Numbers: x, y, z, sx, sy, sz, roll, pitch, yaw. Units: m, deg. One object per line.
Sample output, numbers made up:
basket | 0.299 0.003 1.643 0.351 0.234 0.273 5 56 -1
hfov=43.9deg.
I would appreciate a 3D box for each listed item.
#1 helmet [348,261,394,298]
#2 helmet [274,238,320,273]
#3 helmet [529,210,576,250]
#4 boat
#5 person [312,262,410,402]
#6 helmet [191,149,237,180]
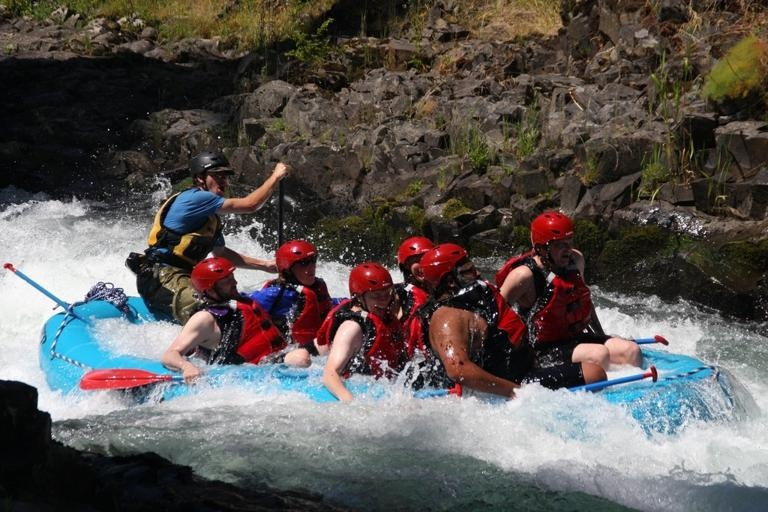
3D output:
helmet | -0.195 0.286 12.604 0.509 0.505 0.386 -20 -13 35
helmet | -1.283 0.001 13.590 0.514 0.442 0.398 12 -10 1
helmet | 2.272 -0.377 12.889 0.524 0.500 0.407 17 15 26
boat | -0.274 1.625 12.694 6.881 1.255 3.430 2 -4 21
person | -0.269 0.970 12.426 1.141 1.751 0.732 6 5 -3
helmet | -2.641 -1.394 14.404 0.521 0.291 0.389 -2 -6 4
